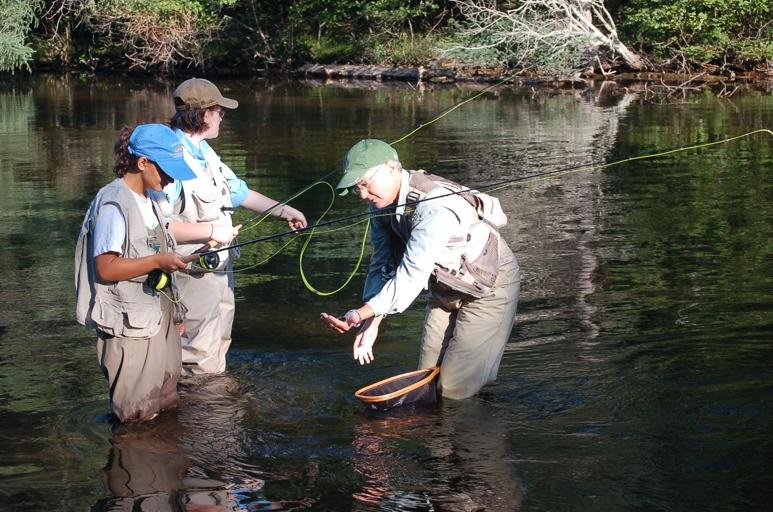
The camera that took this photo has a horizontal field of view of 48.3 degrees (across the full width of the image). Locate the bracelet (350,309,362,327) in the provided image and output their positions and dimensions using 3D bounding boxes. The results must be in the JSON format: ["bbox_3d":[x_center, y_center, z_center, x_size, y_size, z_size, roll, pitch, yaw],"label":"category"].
[{"bbox_3d":[-0.244,0.453,6.241,0.131,0.124,0.179,1,5,-2],"label":"bracelet"}]

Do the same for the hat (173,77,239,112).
[{"bbox_3d":[-1.503,-1.326,7.098,0.486,0.275,0.413,1,5,-6],"label":"hat"}]

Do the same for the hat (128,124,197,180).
[{"bbox_3d":[-1.626,-0.749,6.219,0.449,0.390,0.181,0,7,-12],"label":"hat"}]

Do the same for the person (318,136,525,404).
[{"bbox_3d":[0.313,0.151,6.611,1.533,2.042,0.788,0,8,-13],"label":"person"}]

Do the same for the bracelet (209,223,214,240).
[{"bbox_3d":[-1.400,-0.197,6.891,0.035,0.097,0.042,1,7,-10],"label":"bracelet"}]

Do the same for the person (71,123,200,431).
[{"bbox_3d":[-1.868,0.164,6.364,0.792,2.258,0.665,0,8,-16],"label":"person"}]
